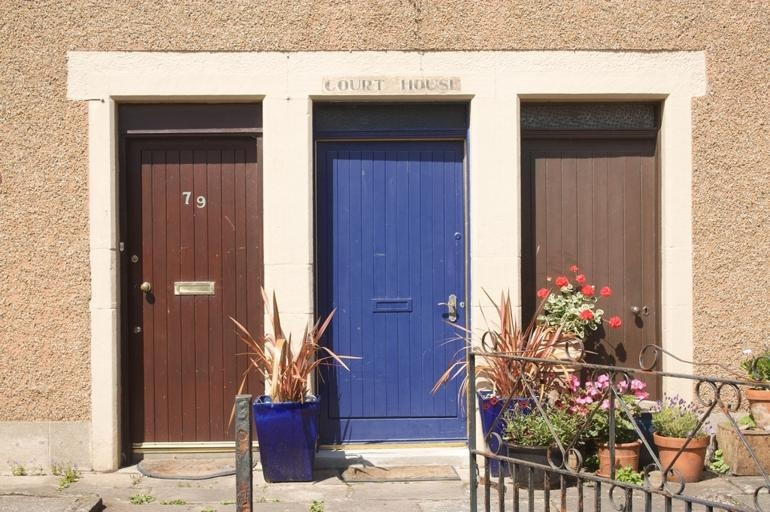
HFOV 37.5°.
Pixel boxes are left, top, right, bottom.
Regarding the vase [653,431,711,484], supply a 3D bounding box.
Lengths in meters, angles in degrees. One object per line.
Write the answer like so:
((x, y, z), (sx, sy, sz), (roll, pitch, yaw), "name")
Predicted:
((2.598, 1.759, 9.919), (0.603, 0.365, 0.576), (2, -5, -13), "vase")

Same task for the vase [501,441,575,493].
((1.274, 1.764, 9.588), (0.614, 0.290, 0.494), (-1, -9, 15), "vase")

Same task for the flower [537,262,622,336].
((1.666, 0.345, 10.224), (0.679, 0.278, 0.554), (11, -9, -17), "flower")

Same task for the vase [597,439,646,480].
((1.988, 1.748, 9.711), (0.507, 0.341, 0.486), (0, -6, -1), "vase")

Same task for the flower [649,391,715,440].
((2.554, 1.391, 9.914), (0.485, 0.304, 0.440), (4, 16, -19), "flower")

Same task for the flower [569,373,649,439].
((1.905, 1.296, 9.561), (0.800, 0.499, 0.760), (1, 1, 1), "flower")
